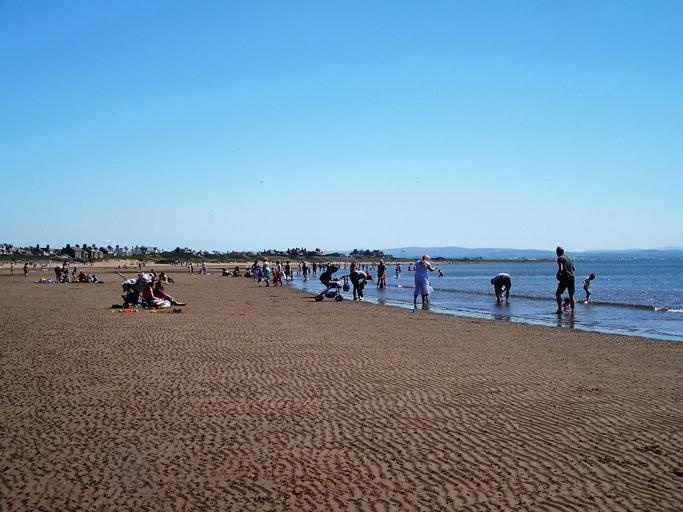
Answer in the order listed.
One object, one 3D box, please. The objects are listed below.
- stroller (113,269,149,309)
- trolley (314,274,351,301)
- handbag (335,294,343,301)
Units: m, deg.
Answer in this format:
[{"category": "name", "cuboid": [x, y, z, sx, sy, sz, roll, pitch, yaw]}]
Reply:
[{"category": "stroller", "cuboid": [-7.490, 1.149, 21.692, 1.296, 1.617, 0.899, -3, -10, 30]}, {"category": "trolley", "cuboid": [-0.734, 1.589, 29.665, 1.821, 1.667, 1.293, -3, 0, 12]}, {"category": "handbag", "cuboid": [-0.091, 1.959, 28.246, 0.304, 0.266, 0.292, 1, -6, -2]}]
